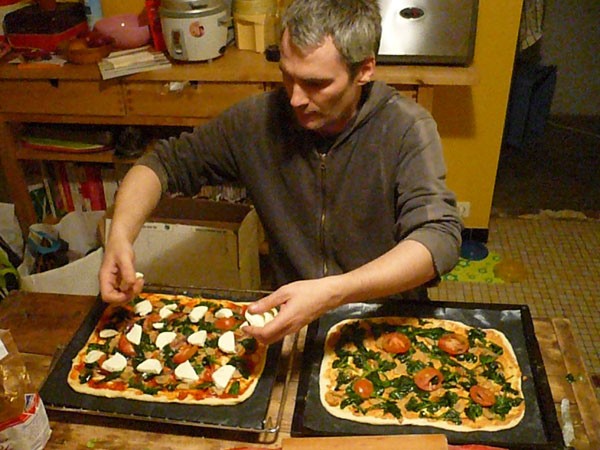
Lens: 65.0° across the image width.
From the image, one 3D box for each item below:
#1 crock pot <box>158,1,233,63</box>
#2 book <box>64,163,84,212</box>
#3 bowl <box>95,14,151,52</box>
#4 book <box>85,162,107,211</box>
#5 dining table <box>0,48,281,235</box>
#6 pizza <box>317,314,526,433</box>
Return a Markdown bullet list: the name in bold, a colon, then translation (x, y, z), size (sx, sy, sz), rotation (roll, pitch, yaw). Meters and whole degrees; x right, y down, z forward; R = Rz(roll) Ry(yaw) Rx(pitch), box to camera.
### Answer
- **crock pot**: translation (-0.699, -1.368, 3.399), size (0.509, 0.424, 0.417), rotation (28, 47, 33)
- **book**: translation (-2.044, -0.367, 4.263), size (0.080, 0.472, 0.055), rotation (-7, 27, 4)
- **bowl**: translation (-1.334, -1.529, 3.649), size (0.427, 0.196, 0.319), rotation (6, 51, 7)
- **book**: translation (-1.847, -0.333, 4.310), size (0.057, 0.490, 0.187), rotation (12, 17, 32)
- **dining table**: translation (-1.098, -0.633, 3.237), size (1.544, 1.401, 0.496), rotation (-1, 38, -2)
- **pizza**: translation (0.474, 0.568, 1.887), size (0.803, 0.112, 0.534), rotation (1, 29, 4)
